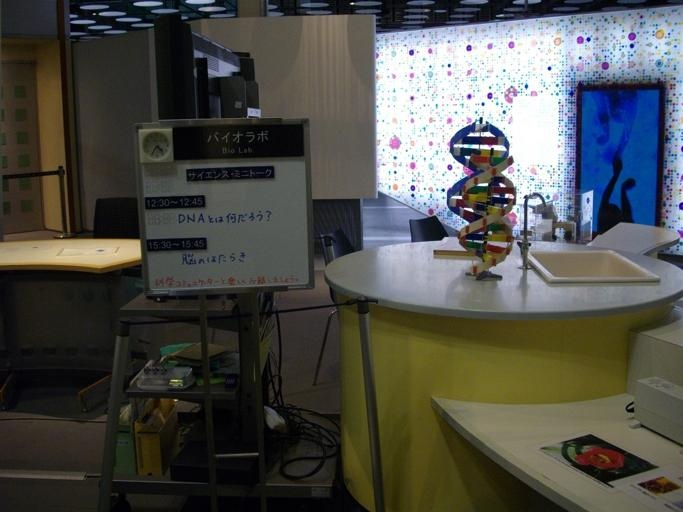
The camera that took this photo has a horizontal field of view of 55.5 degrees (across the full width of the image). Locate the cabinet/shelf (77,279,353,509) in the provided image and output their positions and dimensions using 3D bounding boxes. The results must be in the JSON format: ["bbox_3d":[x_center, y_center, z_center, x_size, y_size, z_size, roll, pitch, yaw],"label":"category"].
[{"bbox_3d":[-0.482,0.920,3.939,1.205,1.210,1.326,2,10,12],"label":"cabinet/shelf"}]

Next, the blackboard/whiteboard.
[{"bbox_3d":[-0.532,-0.236,2.935,0.730,0.774,0.158,-1,6,-1],"label":"blackboard/whiteboard"}]
